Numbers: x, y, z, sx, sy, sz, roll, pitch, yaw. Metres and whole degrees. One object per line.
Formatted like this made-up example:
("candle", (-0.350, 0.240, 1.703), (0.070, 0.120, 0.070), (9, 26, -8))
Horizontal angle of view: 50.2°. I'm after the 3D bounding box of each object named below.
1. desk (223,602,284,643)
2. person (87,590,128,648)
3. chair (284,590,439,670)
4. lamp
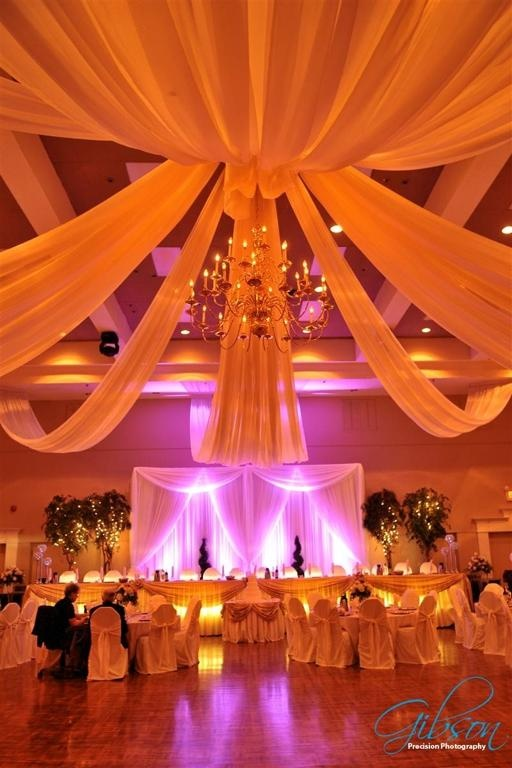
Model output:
("desk", (-0.061, 4.221, 9.611), (1.102, 0.676, 0.626), (2, -26, -3))
("person", (-1.725, 2.818, 6.510), (0.408, 0.633, 1.022), (4, -27, -8))
("chair", (1.255, 3.079, 6.766), (1.915, 0.848, 1.290), (-7, -28, 15))
("lamp", (0.031, -0.945, 4.849), (0.797, 0.844, 0.846), (-2, -6, 19))
